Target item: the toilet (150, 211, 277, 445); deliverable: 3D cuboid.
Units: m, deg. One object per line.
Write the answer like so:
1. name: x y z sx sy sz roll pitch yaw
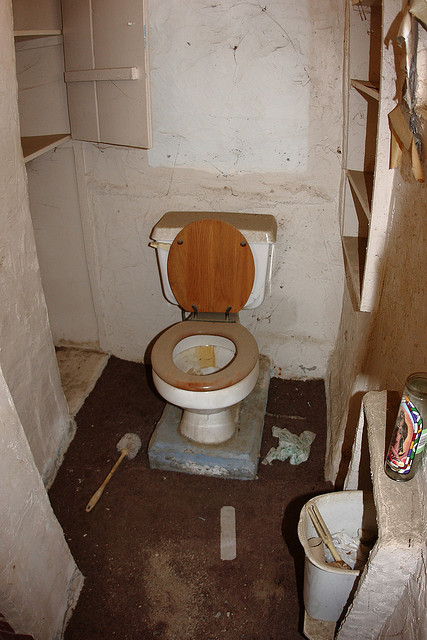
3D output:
1. toilet: -0.003 0.021 1.766 0.514 0.773 0.706 4 34 8

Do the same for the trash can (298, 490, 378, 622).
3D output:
1. trash can: 0.244 0.513 1.036 0.145 0.249 0.227 15 34 26

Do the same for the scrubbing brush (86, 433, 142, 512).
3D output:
1. scrubbing brush: -0.354 0.544 1.779 0.088 0.029 0.384 6 32 12
